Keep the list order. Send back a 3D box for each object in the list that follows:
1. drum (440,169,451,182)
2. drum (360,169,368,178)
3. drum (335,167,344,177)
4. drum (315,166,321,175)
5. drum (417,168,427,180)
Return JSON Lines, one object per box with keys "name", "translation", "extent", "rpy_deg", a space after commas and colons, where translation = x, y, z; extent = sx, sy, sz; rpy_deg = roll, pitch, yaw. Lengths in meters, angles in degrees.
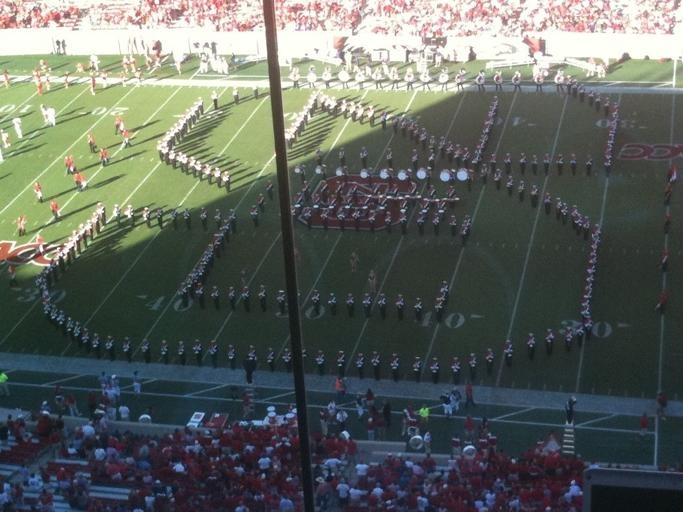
{"name": "drum", "translation": [4.712, -3.651, 60.354], "extent": [0.500, 0.513, 0.377], "rpy_deg": [-30, -1, -2]}
{"name": "drum", "translation": [1.022, -3.786, 60.678], "extent": [0.374, 0.369, 0.360], "rpy_deg": [3, 11, 3]}
{"name": "drum", "translation": [-0.100, -3.978, 62.664], "extent": [0.372, 0.408, 0.397], "rpy_deg": [1, 8, 3]}
{"name": "drum", "translation": [-1.122, -4.028, 62.407], "extent": [0.286, 0.542, 0.296], "rpy_deg": [0, -23, 0]}
{"name": "drum", "translation": [3.672, -3.764, 60.689], "extent": [0.423, 0.435, 0.322], "rpy_deg": [-15, -7, 3]}
